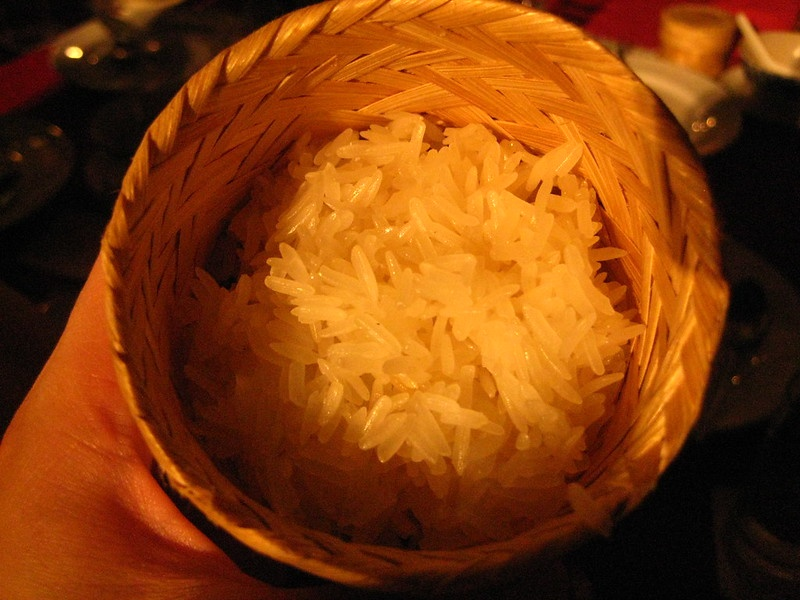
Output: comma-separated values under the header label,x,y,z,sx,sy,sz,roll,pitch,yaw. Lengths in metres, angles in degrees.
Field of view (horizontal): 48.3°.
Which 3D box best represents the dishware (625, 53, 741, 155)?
label,x,y,z,sx,sy,sz,roll,pitch,yaw
dishware,0.594,-0.392,1.959,0.241,0.034,0.272,21,65,8
